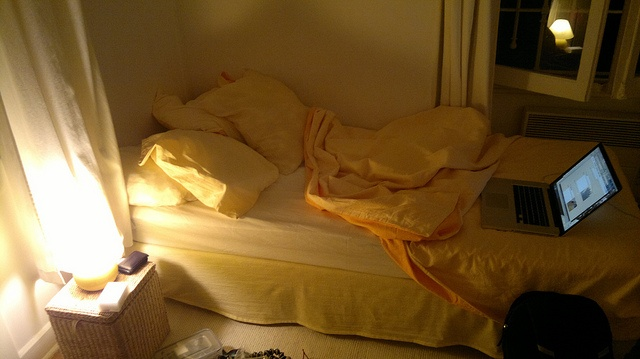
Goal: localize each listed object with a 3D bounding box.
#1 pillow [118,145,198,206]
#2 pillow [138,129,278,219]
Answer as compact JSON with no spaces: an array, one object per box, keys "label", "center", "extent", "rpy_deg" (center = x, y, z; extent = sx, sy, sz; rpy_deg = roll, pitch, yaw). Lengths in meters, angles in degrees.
[{"label":"pillow","center":[-1.071,-0.003,2.879],"extent":[0.380,0.092,0.384],"rpy_deg":[48,28,22]},{"label":"pillow","center":[-0.772,-0.051,2.911],"extent":[0.692,0.179,0.670],"rpy_deg":[31,32,-3]}]
